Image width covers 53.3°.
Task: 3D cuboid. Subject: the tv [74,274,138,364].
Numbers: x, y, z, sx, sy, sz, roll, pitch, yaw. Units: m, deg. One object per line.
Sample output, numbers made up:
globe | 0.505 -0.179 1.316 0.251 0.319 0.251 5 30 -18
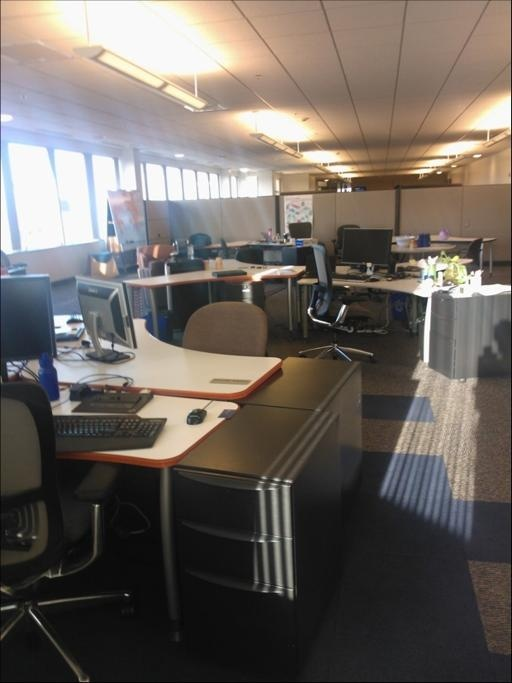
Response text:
tv | -0.678 -0.106 2.241 0.386 0.338 0.115 12 17 42

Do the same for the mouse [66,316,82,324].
mouse | -1.073 -0.127 3.007 0.070 0.022 0.064 2 11 2

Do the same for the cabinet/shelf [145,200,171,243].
cabinet/shelf | -2.094 -2.315 9.956 0.476 0.848 0.902 4 16 14

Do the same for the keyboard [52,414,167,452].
keyboard | -0.443 0.263 1.492 0.224 0.030 0.109 1 27 6

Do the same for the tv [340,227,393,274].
tv | 1.022 -0.832 4.678 0.494 0.363 0.069 11 15 41

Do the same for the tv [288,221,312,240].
tv | 0.746 -1.877 8.608 0.320 0.386 0.312 1 21 4
